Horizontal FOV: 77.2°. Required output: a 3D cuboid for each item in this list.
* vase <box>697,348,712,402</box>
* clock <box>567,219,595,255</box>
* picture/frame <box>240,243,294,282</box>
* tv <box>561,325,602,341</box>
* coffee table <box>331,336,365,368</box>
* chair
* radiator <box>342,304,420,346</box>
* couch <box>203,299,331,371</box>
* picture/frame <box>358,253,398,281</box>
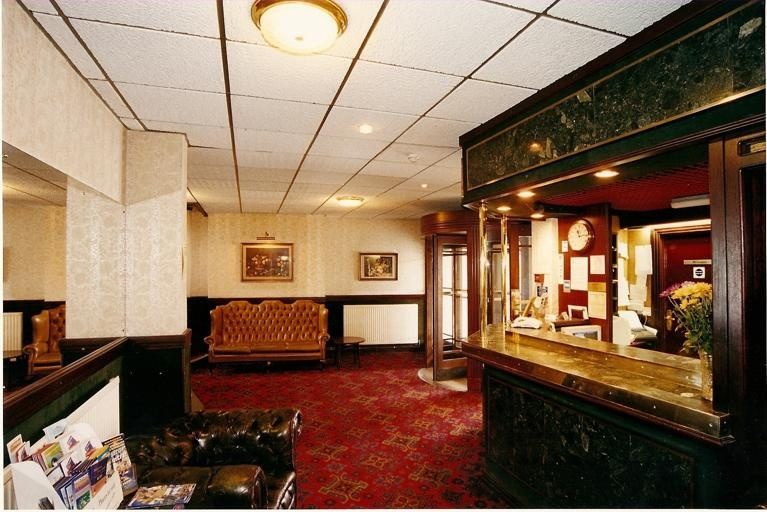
[{"bbox_3d":[2.191,0.807,3.274,0.056,0.325,0.093,-1,6,23],"label":"vase"},{"bbox_3d":[2.620,-0.259,6.440,0.432,0.370,0.404,0,-23,-11],"label":"clock"},{"bbox_3d":[-2.378,0.132,9.577,0.980,0.621,0.070,1,-7,-13],"label":"picture/frame"},{"bbox_3d":[2.170,0.826,5.340,0.398,0.174,0.348,1,-1,-24],"label":"tv"},{"bbox_3d":[-0.653,1.763,8.917,0.659,0.385,0.589,0,-6,-7],"label":"coffee table"},{"bbox_3d":[-1.284,1.522,3.677,0.985,0.482,1.020,0,0,-4],"label":"chair"},{"bbox_3d":[-0.063,1.450,10.203,1.829,0.831,0.128,4,-12,-30],"label":"radiator"},{"bbox_3d":[-2.039,1.371,8.659,2.074,0.845,0.904,0,8,-9],"label":"couch"},{"bbox_3d":[-0.176,0.229,10.348,0.729,0.411,0.030,1,-8,-15],"label":"picture/frame"}]
